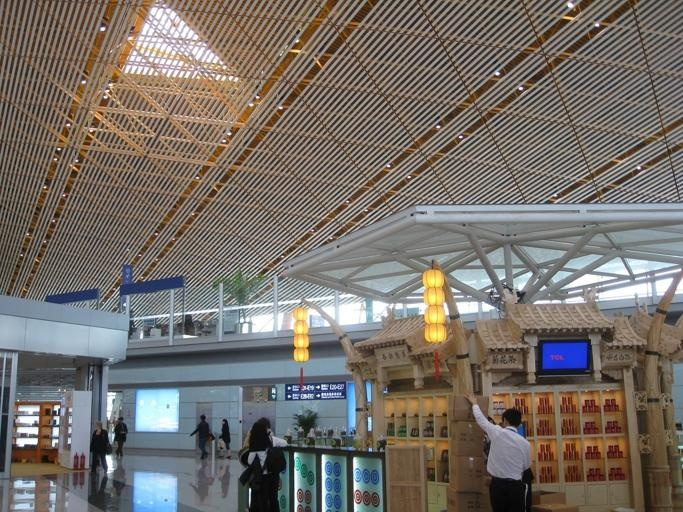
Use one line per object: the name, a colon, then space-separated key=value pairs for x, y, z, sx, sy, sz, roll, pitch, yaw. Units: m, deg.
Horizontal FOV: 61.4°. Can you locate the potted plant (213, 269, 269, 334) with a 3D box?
potted plant: x=-4.836 y=2.265 z=27.207 sx=2.239 sy=2.786 sz=0.874 roll=-8 pitch=-17 yaw=16

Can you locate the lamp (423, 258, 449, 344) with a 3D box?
lamp: x=1.649 y=0.835 z=10.219 sx=0.355 sy=1.548 sz=0.382 roll=10 pitch=-12 yaw=-10

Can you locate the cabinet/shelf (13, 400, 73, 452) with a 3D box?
cabinet/shelf: x=-12.813 y=7.155 z=24.209 sx=2.114 sy=2.035 sz=0.642 roll=-7 pitch=-17 yaw=13

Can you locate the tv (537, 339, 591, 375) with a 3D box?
tv: x=4.153 y=1.898 z=10.734 sx=1.059 sy=0.619 sz=0.335 roll=1 pitch=-17 yaw=-16

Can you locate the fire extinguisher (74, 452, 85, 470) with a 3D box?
fire extinguisher: x=-8.901 y=7.015 z=19.474 sx=0.467 sy=0.556 sz=0.184 roll=4 pitch=-26 yaw=-25
